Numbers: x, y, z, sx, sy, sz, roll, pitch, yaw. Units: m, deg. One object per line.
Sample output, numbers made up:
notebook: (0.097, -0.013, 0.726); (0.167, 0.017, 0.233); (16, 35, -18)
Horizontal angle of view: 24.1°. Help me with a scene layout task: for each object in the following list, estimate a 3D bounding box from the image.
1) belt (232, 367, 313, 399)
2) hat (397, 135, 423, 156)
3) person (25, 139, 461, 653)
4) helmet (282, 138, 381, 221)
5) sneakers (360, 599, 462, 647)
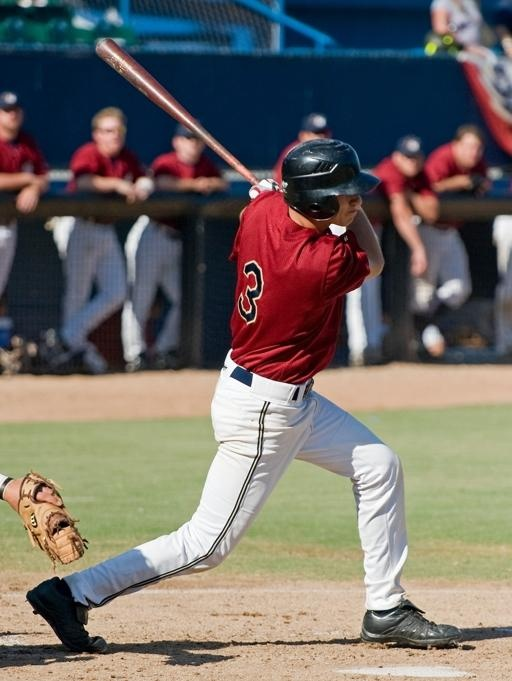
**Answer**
belt: (0.035, 0.135, 3.435); (0.135, 0.035, 0.125); (15, -5, 17)
hat: (1.251, -1.558, 9.573); (0.199, 0.174, 0.253); (-6, -4, -6)
person: (0.026, 0.183, 3.482); (1.096, 1.517, 0.415); (-1, 5, 7)
helmet: (0.191, -0.451, 3.354); (0.290, 0.193, 0.214); (0, 17, 0)
sneakers: (0.449, 0.856, 3.647); (0.334, 0.132, 0.121); (1, 2, 2)
